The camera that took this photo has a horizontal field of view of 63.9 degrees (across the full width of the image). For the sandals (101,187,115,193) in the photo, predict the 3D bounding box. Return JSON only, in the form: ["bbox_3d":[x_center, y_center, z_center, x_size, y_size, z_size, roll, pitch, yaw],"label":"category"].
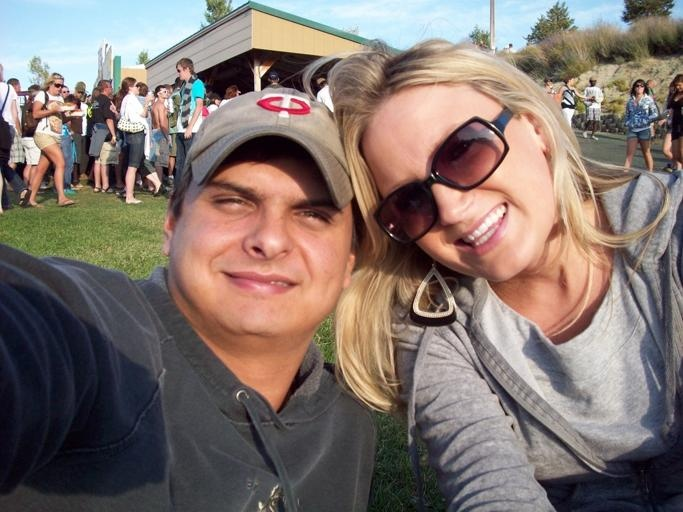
[{"bbox_3d":[-5.507,-1.580,12.938,0.137,0.104,0.270,1,6,-3],"label":"sandals"}]

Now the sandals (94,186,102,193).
[{"bbox_3d":[-5.695,-1.571,12.785,0.098,0.104,0.266,-1,-6,5],"label":"sandals"}]

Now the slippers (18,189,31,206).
[{"bbox_3d":[-5.849,-1.103,10.140,0.114,0.332,0.143,25,-4,-42],"label":"slippers"}]

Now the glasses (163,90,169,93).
[{"bbox_3d":[-3.713,-3.531,11.576,0.066,0.085,0.092,1,12,-3],"label":"glasses"}]
